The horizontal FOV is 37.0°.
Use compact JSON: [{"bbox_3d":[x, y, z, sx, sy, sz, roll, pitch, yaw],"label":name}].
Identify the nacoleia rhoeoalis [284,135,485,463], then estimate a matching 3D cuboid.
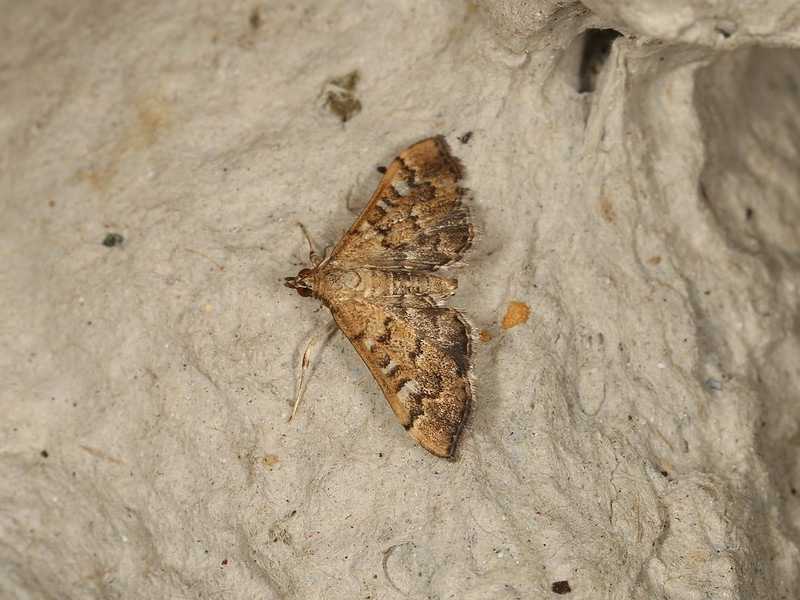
[{"bbox_3d":[0.008,-0.045,7.386,1.386,0.672,2.669,-1,95,4],"label":"nacoleia rhoeoalis"}]
